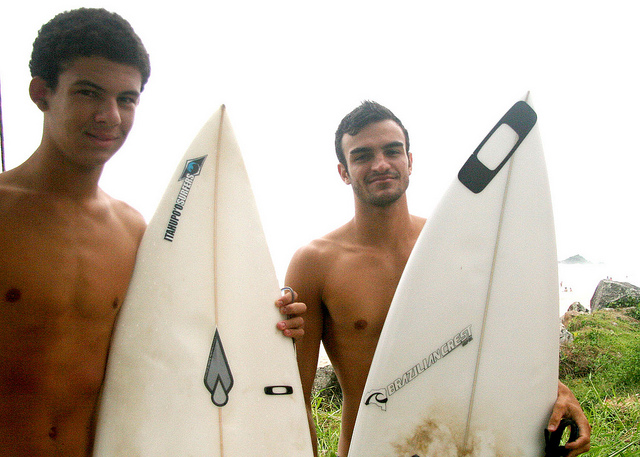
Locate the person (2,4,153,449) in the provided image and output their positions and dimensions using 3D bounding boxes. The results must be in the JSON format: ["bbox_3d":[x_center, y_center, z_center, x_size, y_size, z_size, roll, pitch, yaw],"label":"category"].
[{"bbox_3d":[-1.186,-0.001,2.893,0.683,1.899,0.938,7,-27,-15],"label":"person"}]
